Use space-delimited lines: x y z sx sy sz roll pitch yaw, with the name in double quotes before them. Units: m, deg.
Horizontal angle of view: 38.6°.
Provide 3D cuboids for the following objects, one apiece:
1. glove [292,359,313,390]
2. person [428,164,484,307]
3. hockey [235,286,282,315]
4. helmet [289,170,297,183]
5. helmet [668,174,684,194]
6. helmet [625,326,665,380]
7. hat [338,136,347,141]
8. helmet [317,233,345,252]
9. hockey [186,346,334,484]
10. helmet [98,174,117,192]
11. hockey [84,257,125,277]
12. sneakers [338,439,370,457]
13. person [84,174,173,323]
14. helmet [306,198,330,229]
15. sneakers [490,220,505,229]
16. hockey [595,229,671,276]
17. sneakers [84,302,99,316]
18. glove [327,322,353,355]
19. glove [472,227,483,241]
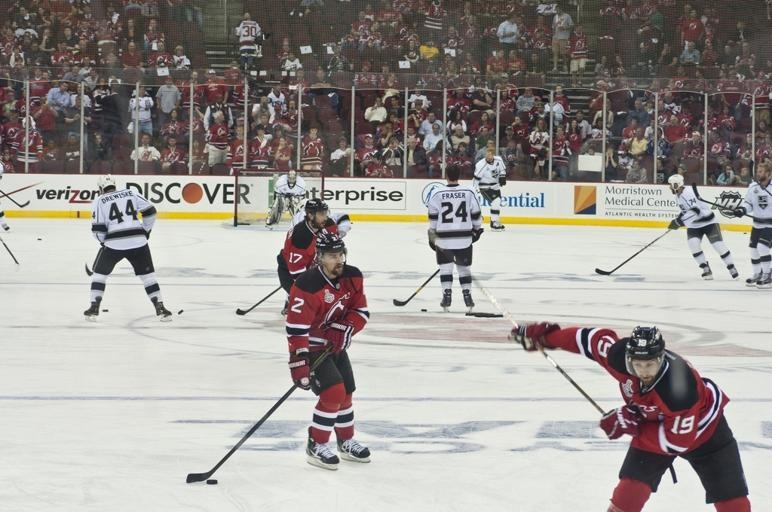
"glove" -0.743 1.026 9.686 0.211 0.214 0.256 -4 -10 -2
"person" 0.869 -0.237 14.332 0.676 1.882 0.539 1 6 20
"hockey" -1.649 0.596 13.879 0.289 0.255 0.840 17 -18 -29
"helmet" -1.654 -1.378 19.148 0.177 0.205 0.217 -1 9 -10
"helmet" 4.439 -1.098 16.815 0.177 0.255 0.235 3 7 33
"helmet" 2.064 0.739 8.710 0.328 0.390 0.419 1 22 24
"hat" -0.949 -2.487 23.377 0.105 0.102 0.132 -1 -8 -6
"helmet" -0.497 -0.121 9.756 0.218 0.189 0.164 -5 4 9
"hockey" -1.187 1.524 10.324 1.686 0.326 0.084 -38 43 -13
"helmet" -3.490 -0.901 13.644 0.201 0.229 0.240 -1 17 -17
"hockey" -3.925 0.187 15.053 0.463 0.100 0.454 -3 8 -12
"sneakers" -0.316 1.746 10.004 0.126 0.133 0.319 -6 4 -44
"person" -3.272 -0.108 13.656 1.030 1.754 0.723 -2 6 -14
"helmet" -0.662 -0.470 11.841 0.321 0.290 0.264 -4 6 33
"sneakers" 2.219 -0.614 22.156 0.260 0.171 0.379 0 5 6
"hockey" 4.235 -0.046 18.907 0.248 0.257 2.063 26 -35 -35
"sneakers" -3.637 0.648 13.497 0.175 0.193 0.280 -2 5 -15
"glove" -0.420 0.723 9.888 0.258 0.235 0.110 17 -2 32
"glove" 1.194 -0.286 14.419 0.135 0.169 0.067 6 3 26
